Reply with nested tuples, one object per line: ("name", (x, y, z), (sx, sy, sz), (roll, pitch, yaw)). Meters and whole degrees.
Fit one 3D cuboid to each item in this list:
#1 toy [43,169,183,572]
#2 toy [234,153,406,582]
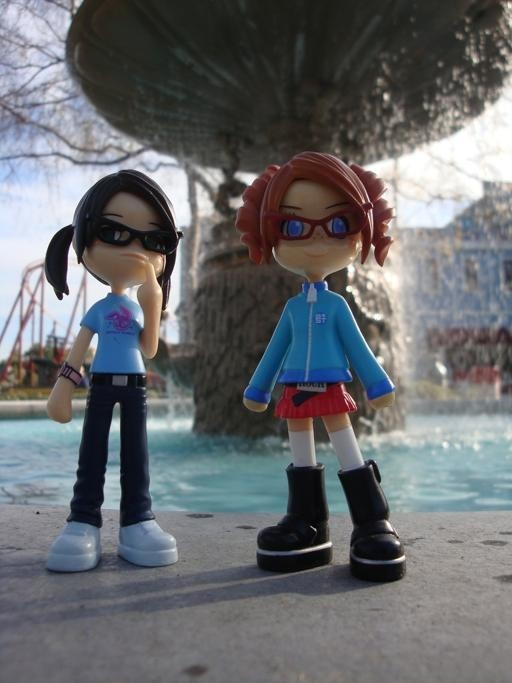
("toy", (-0.464, 0.053, 2.468), (0.422, 1.271, 0.515), (1, -3, -9))
("toy", (0.197, 0.035, 2.391), (0.528, 1.322, 0.545), (1, -3, -2))
